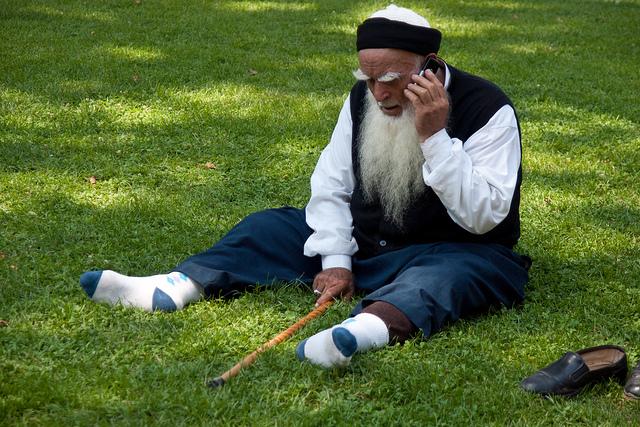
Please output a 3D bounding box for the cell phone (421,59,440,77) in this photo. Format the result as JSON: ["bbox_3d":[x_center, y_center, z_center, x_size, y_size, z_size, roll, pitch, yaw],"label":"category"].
[{"bbox_3d":[1.005,-1.317,6.133,0.171,0.166,0.043,-29,39,-36],"label":"cell phone"}]

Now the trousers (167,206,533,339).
[{"bbox_3d":[0.409,0.491,6.244,2.919,0.722,1.069,7,21,12],"label":"trousers"}]
